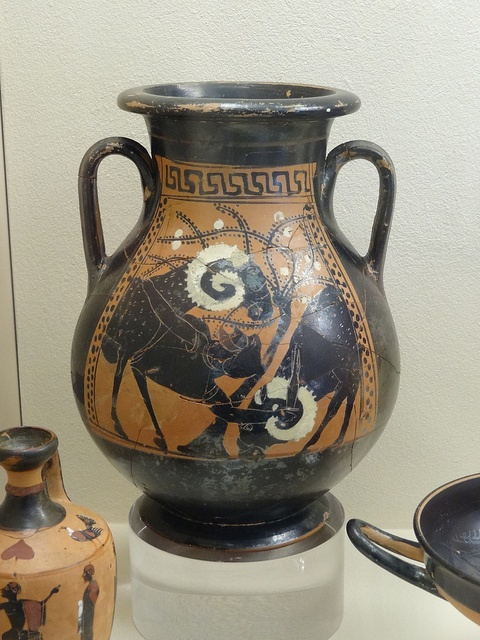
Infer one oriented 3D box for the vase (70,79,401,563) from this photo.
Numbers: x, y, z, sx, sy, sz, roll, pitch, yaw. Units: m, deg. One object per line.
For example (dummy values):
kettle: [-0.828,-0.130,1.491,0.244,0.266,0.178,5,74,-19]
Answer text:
vase: [-0.006,-0.013,0.915,0.456,0.533,0.422,0,8,-6]
